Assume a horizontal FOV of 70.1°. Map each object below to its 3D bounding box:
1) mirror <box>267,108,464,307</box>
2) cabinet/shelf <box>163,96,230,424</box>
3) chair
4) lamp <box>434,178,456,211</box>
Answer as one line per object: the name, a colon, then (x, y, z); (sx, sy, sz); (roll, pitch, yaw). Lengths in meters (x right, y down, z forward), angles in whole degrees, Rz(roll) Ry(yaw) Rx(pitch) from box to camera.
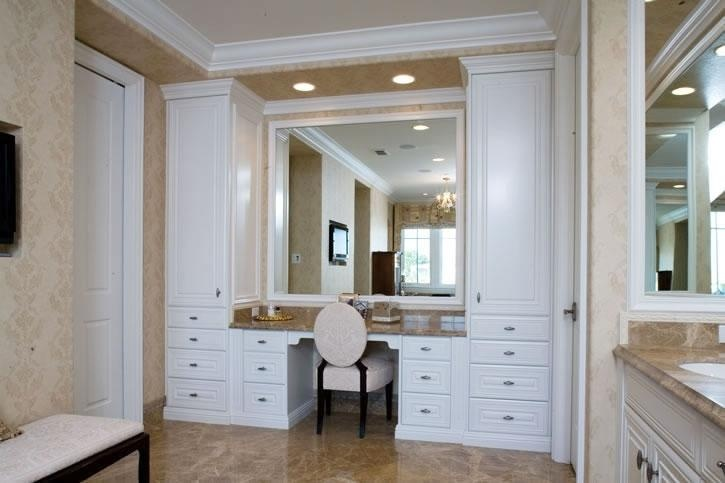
mirror: (0.116, -0.307, 5.142); (2.080, 1.938, 0.054); (-2, -7, 15)
cabinet/shelf: (-1.597, 0.152, 4.968); (0.694, 3.071, 0.500); (1, 5, 3)
chair: (-0.069, 1.138, 4.826); (0.715, 1.200, 0.670); (1, 5, 3)
lamp: (0.798, -0.453, 4.965); (0.204, 0.334, 0.066); (1, 5, 11)
